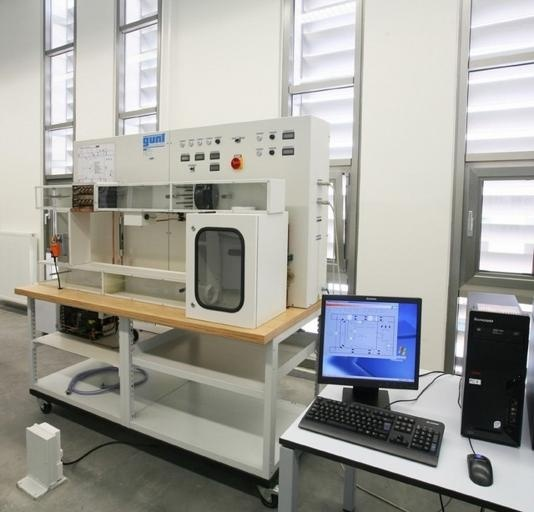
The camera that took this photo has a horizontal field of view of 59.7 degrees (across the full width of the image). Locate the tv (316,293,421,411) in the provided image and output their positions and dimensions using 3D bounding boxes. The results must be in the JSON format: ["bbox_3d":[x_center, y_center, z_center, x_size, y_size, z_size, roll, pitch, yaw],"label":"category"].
[{"bbox_3d":[0.423,0.396,1.910,0.360,0.451,0.147,2,-2,12],"label":"tv"}]

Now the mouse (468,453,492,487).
[{"bbox_3d":[0.689,0.698,1.505,0.070,0.032,0.130,6,21,21],"label":"mouse"}]
